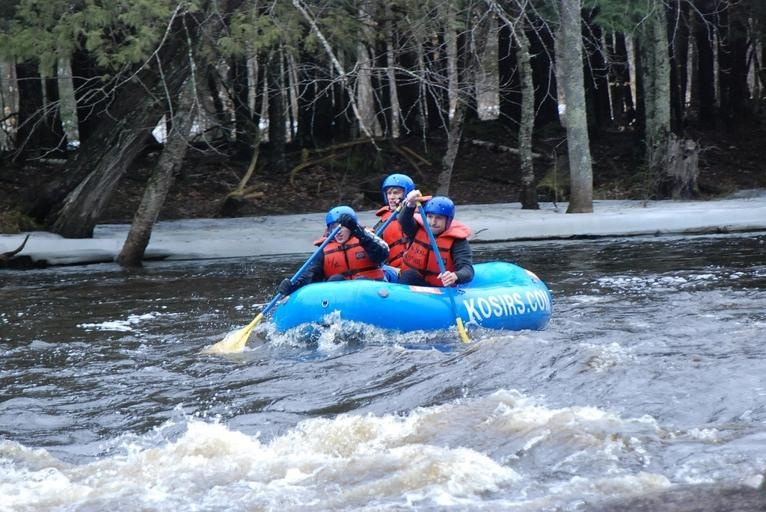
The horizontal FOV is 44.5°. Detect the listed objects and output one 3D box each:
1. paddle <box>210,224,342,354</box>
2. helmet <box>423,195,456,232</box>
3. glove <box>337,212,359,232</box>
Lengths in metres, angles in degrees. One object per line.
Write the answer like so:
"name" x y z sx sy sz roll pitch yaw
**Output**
"paddle" -1.886 0.606 16.122 4.052 0.652 0.252 -30 -23 -21
"helmet" 1.070 -0.656 14.644 0.540 0.479 0.626 2 3 22
"glove" -0.548 -0.504 14.463 0.357 0.313 0.230 -2 6 -3
